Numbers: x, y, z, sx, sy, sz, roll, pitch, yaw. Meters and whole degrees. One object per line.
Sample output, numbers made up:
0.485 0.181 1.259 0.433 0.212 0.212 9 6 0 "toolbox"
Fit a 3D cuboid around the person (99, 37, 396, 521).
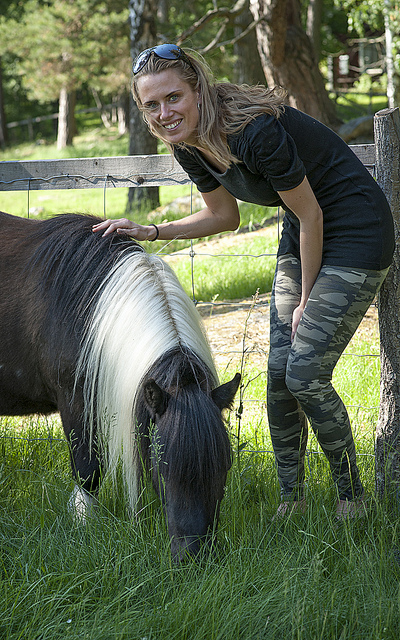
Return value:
0.275 -0.130 2.303 0.896 1.647 0.777 -5 10 -4 "person"
